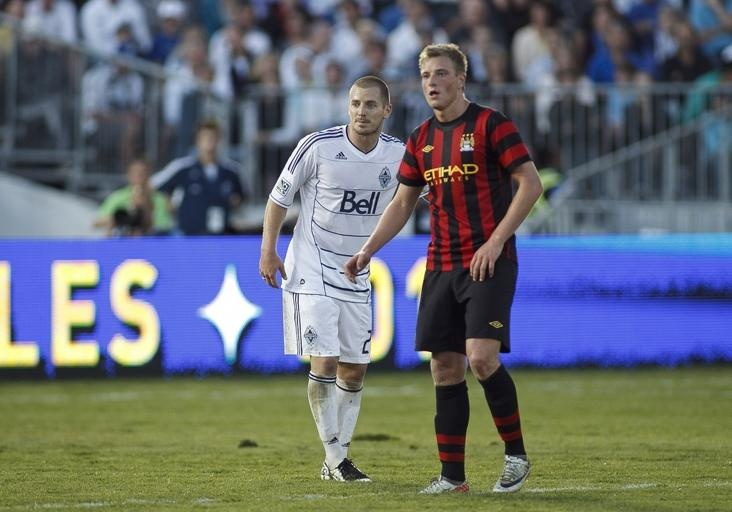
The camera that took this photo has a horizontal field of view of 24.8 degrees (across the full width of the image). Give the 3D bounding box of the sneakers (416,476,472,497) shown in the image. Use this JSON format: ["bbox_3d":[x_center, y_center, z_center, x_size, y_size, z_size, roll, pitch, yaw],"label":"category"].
[{"bbox_3d":[0.709,2.158,15.602,0.507,0.196,0.165,2,-6,0],"label":"sneakers"}]

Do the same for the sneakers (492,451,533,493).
[{"bbox_3d":[1.343,2.054,15.612,0.186,0.507,0.224,27,-17,31],"label":"sneakers"}]
